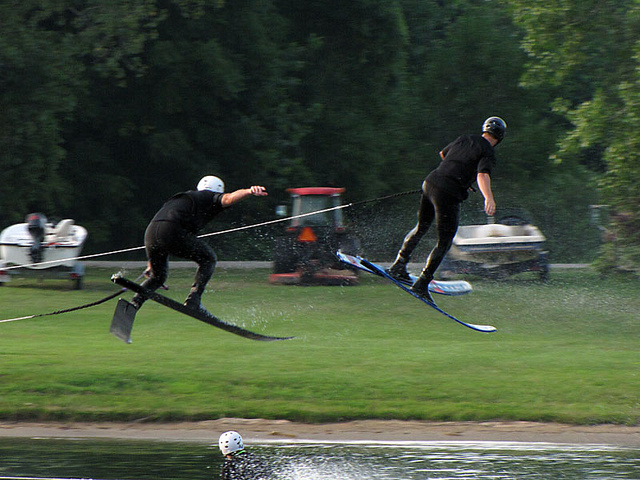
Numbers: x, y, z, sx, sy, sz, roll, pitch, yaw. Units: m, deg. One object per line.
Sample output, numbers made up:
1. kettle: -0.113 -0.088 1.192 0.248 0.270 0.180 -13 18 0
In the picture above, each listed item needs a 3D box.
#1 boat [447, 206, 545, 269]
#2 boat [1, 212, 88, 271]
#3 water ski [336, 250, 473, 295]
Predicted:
1. boat: 4.684 -0.050 31.279 3.479 1.829 3.150 -2 5 0
2. boat: -7.618 0.141 30.706 3.382 1.572 2.009 -4 12 -6
3. water ski: 1.628 0.676 23.856 3.741 0.364 0.516 19 -17 -32
